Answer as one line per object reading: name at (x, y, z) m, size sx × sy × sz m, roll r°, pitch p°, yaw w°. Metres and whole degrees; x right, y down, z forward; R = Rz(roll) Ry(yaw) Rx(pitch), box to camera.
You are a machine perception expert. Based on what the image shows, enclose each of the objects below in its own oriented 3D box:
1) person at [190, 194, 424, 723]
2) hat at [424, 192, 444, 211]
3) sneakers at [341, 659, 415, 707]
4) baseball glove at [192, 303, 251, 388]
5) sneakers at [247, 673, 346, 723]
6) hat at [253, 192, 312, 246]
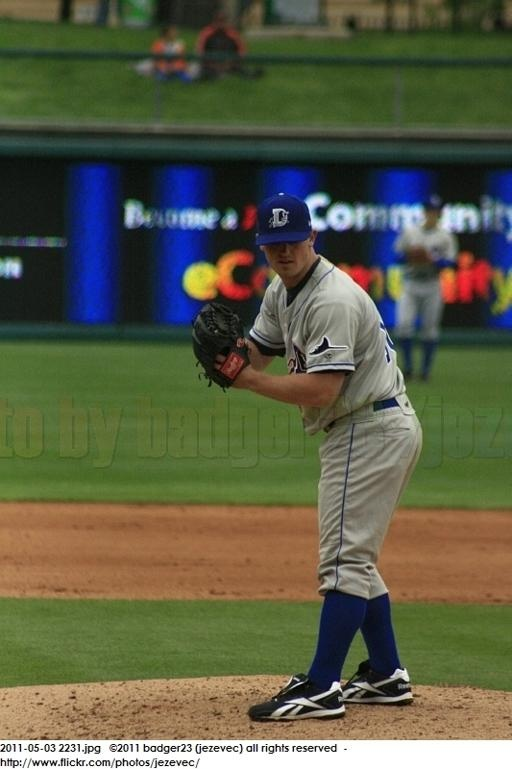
person at (0.208, 0.228, 4.595) m, size 0.750 × 1.708 × 0.593 m, roll 4°, pitch 7°, yaw 8°
hat at (1.253, -1.268, 9.609) m, size 0.105 × 0.135 × 0.136 m, roll 18°, pitch -17°, yaw 0°
sneakers at (0.418, 1.038, 4.673) m, size 0.301 × 0.135 × 0.108 m, roll 0°, pitch -3°, yaw 2°
baseball glove at (-0.125, -0.137, 4.586) m, size 0.207 × 0.266 × 0.104 m, roll -27°, pitch -7°, yaw -9°
sneakers at (0.155, 1.044, 4.519) m, size 0.362 × 0.172 × 0.121 m, roll 1°, pitch -7°, yaw -5°
hat at (0.100, -0.544, 4.520) m, size 0.182 × 0.174 × 0.218 m, roll 3°, pitch 7°, yaw -1°
